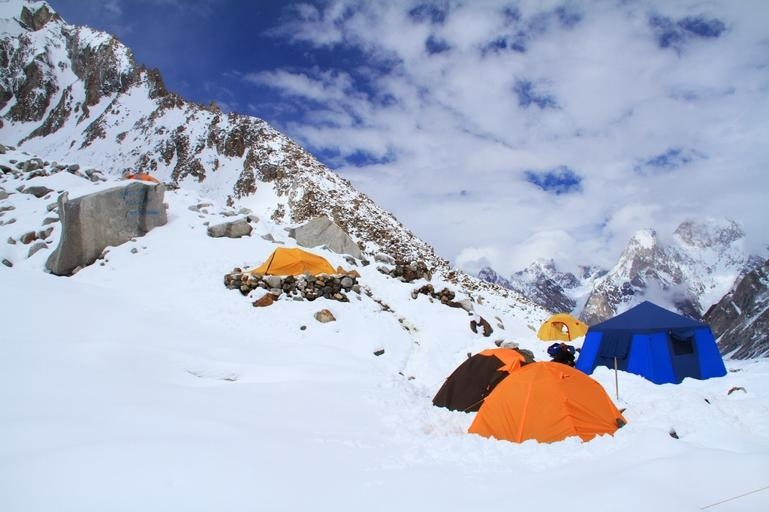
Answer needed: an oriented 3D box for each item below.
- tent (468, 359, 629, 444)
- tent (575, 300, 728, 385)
[{"bbox_3d":[5.634,6.295,20.761,4.091,1.796,3.612,-1,-8,-16],"label":"tent"},{"bbox_3d":[12.810,4.318,24.963,4.458,2.893,4.770,-3,-6,35],"label":"tent"}]
